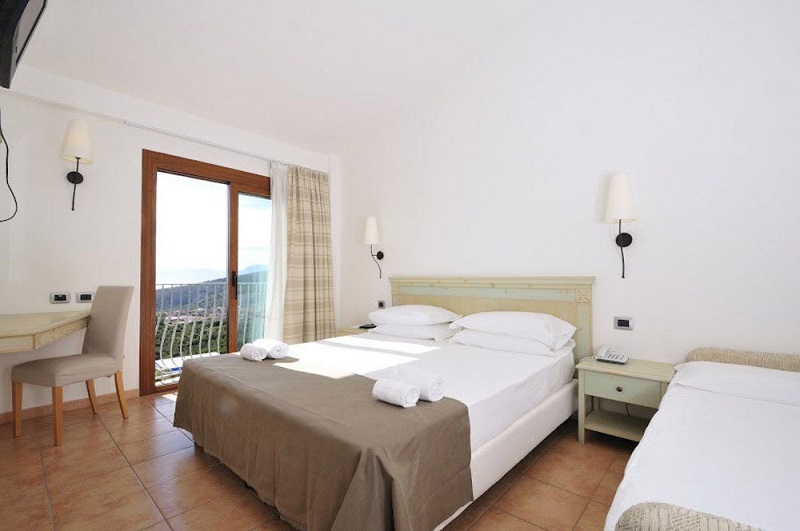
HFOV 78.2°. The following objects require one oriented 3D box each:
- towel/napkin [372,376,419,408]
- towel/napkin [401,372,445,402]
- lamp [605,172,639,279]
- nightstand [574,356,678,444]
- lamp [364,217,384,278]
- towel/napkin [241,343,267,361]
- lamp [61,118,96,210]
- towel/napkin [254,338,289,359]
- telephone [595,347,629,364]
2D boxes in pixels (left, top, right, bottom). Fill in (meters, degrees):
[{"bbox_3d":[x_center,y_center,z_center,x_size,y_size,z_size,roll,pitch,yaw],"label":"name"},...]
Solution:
[{"bbox_3d":[-0.029,0.846,3.353,0.174,0.089,0.242,0,2,-41],"label":"towel/napkin"},{"bbox_3d":[0.184,0.827,3.404,0.147,0.093,0.253,1,3,-40],"label":"towel/napkin"},{"bbox_3d":[1.944,-0.355,4.373,0.269,0.944,0.224,-1,1,23],"label":"lamp"},{"bbox_3d":[1.945,1.192,4.253,0.726,0.671,0.521,4,5,37],"label":"nightstand"},{"bbox_3d":[-0.354,-0.215,6.061,0.262,0.755,0.219,-1,1,34],"label":"lamp"},{"bbox_3d":[-1.219,0.718,4.144,0.123,0.084,0.198,-1,2,-43],"label":"towel/napkin"},{"bbox_3d":[-3.049,-0.953,4.677,0.228,0.829,0.258,-1,1,-32],"label":"lamp"},{"bbox_3d":[-1.107,0.699,4.258,0.168,0.079,0.221,1,0,-39],"label":"towel/napkin"},{"bbox_3d":[1.839,0.791,4.298,0.202,0.066,0.156,0,0,37],"label":"telephone"}]
